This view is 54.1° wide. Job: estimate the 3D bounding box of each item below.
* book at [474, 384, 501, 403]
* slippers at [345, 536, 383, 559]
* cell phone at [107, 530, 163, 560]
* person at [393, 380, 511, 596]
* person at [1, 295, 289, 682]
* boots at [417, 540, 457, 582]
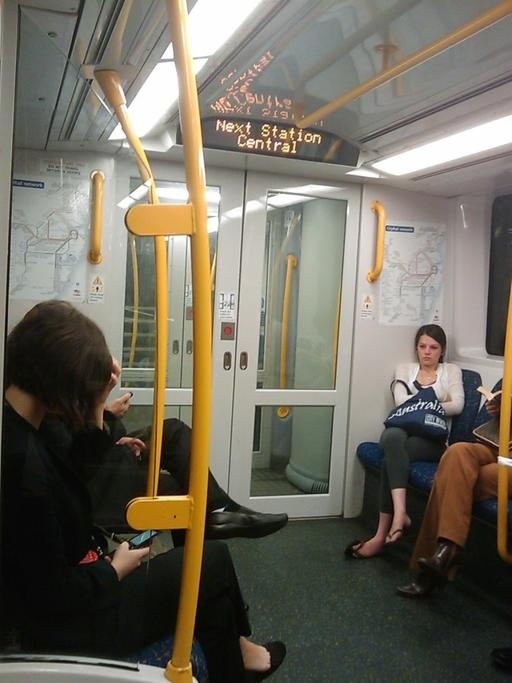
[{"bbox_3d":[1.386,0.318,3.010,0.147,0.038,0.079,26,31,-4],"label":"book"},{"bbox_3d":[0.634,1.212,2.958,0.187,0.048,0.097,-3,30,-4],"label":"slippers"},{"bbox_3d":[-0.212,0.346,0.892,0.111,0.034,0.032,-6,20,-35],"label":"cell phone"},{"bbox_3d":[0.974,0.901,2.546,0.435,1.044,0.513,2,1,26],"label":"person"},{"bbox_3d":[-0.213,0.160,1.399,0.787,1.133,0.454,-5,15,-21],"label":"person"},{"bbox_3d":[0.880,1.084,2.422,0.171,0.202,0.207,2,1,24],"label":"boots"}]
